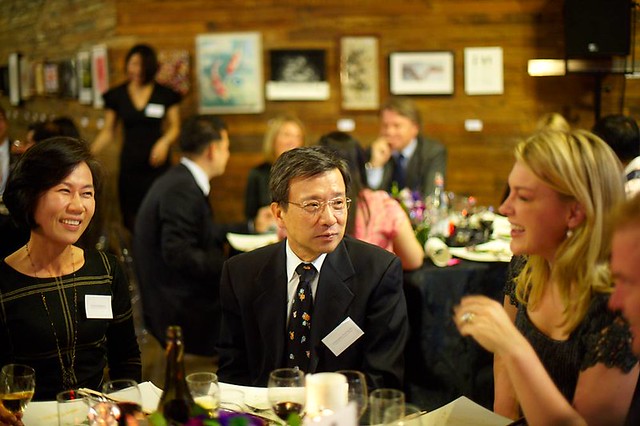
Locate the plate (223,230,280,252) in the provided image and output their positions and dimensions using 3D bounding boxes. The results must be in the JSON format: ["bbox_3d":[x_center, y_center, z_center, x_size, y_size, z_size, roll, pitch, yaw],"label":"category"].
[{"bbox_3d":[-0.470,0.191,4.024,0.279,0.082,0.184,-16,4,-1],"label":"plate"}]

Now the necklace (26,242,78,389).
[{"bbox_3d":[-1.212,0.462,2.623,0.317,0.606,0.133,3,-9,-25],"label":"necklace"}]

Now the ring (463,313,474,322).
[{"bbox_3d":[0.558,0.393,2.181,0.032,0.029,0.031,0,3,0],"label":"ring"}]

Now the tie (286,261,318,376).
[{"bbox_3d":[-0.086,0.474,2.608,0.130,0.532,0.063,0,25,-15],"label":"tie"}]

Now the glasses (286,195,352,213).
[{"bbox_3d":[0.001,-0.038,2.610,0.288,0.067,0.120,-2,0,-8],"label":"glasses"}]
